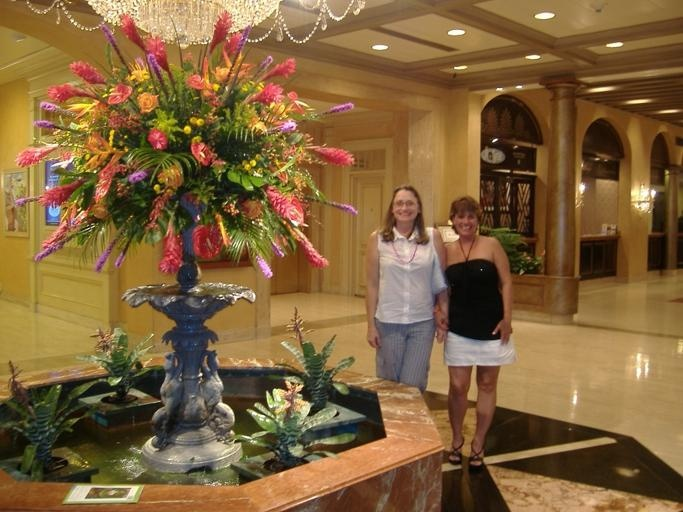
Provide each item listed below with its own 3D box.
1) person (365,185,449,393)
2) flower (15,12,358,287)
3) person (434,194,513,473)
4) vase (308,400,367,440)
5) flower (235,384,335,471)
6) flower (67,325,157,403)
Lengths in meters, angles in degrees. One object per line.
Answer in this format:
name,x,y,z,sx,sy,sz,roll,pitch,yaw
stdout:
person,0.461,0.207,3.203,0.559,1.377,0.337,1,3,9
flower,-0.573,-0.401,2.038,1.258,0.776,1.212,2,-4,-9
person,0.981,0.561,3.284,0.481,1.964,0.271,1,3,11
vase,-0.017,0.830,2.320,0.171,0.062,0.199,0,0,41
flower,-0.279,0.732,2.102,0.404,0.280,0.399,6,9,42
flower,-1.298,0.599,2.784,0.534,0.497,0.482,4,12,-15
